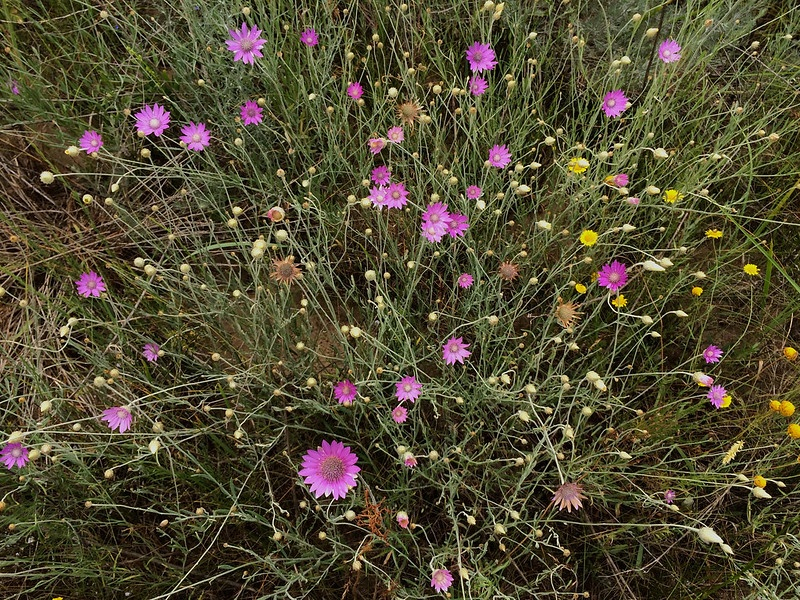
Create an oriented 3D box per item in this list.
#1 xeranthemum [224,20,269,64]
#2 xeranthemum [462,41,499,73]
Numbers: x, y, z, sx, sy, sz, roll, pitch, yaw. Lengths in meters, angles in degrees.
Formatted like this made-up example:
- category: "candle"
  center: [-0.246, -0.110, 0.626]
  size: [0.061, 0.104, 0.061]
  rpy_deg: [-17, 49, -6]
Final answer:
- category: "xeranthemum"
  center: [-0.740, -1.247, 3.344]
  size: [0.163, 0.189, 0.070]
  rpy_deg: [-13, 93, 18]
- category: "xeranthemum"
  center: [0.410, -1.215, 3.491]
  size: [0.124, 0.151, 0.161]
  rpy_deg: [0, 63, 1]
